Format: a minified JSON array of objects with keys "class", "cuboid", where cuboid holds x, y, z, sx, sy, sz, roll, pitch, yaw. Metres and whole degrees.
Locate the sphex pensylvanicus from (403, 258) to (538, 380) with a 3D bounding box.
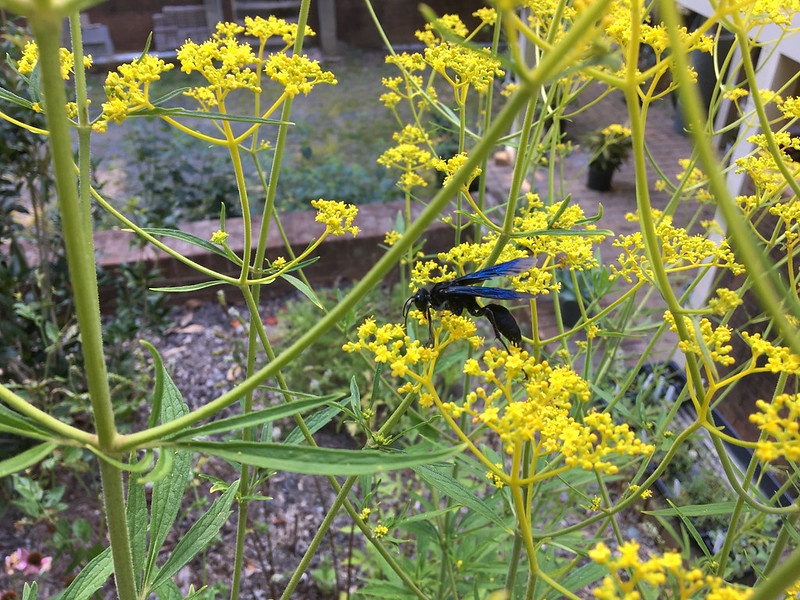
[{"class":"sphex pensylvanicus","cuboid":[0.243,0.049,2.440,0.368,0.126,0.280,-12,23,45]}]
